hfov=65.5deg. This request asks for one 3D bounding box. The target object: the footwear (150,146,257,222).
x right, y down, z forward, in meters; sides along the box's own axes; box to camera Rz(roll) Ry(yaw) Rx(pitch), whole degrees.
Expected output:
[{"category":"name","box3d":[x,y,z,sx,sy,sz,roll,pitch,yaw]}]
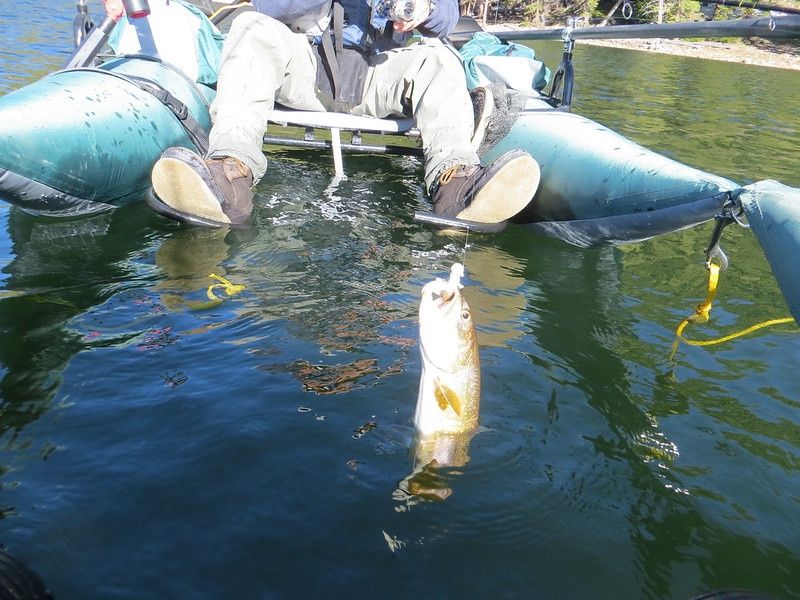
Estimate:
[{"category":"footwear","box3d":[-1.092,-0.640,3.456,0.532,0.451,0.330,-1,35,-12]}]

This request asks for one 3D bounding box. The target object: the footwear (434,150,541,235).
[{"category":"footwear","box3d":[0.457,-0.596,3.732,0.448,0.849,0.214,18,71,-30]}]

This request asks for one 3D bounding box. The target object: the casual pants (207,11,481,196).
[{"category":"casual pants","box3d":[-0.492,-1.318,4.287,1.767,0.489,1.564,0,22,-9]}]
